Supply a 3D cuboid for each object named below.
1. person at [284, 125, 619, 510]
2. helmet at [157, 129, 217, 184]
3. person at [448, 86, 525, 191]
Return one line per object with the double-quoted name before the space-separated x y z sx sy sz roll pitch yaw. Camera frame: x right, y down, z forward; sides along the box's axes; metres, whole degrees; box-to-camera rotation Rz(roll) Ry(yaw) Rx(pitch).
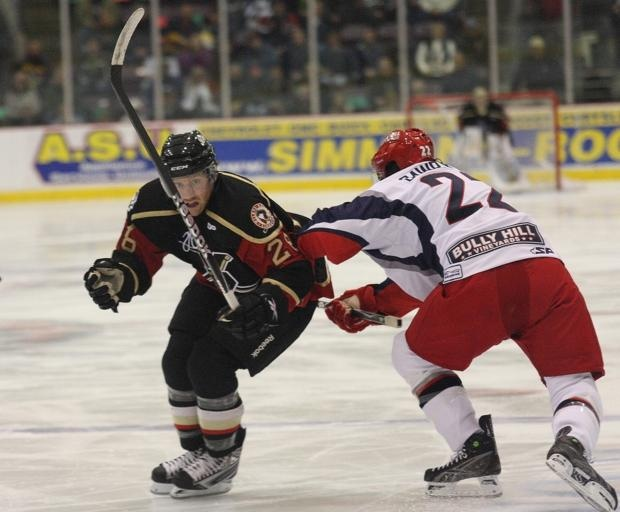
"person" 0.582 0.223 3.506 0.548 1.294 1.294 -20 24 -41
"helmet" -0.459 -0.366 3.666 0.255 0.191 0.236 -4 12 11
"person" 2.122 -1.401 11.894 1.039 1.092 0.455 1 16 27
